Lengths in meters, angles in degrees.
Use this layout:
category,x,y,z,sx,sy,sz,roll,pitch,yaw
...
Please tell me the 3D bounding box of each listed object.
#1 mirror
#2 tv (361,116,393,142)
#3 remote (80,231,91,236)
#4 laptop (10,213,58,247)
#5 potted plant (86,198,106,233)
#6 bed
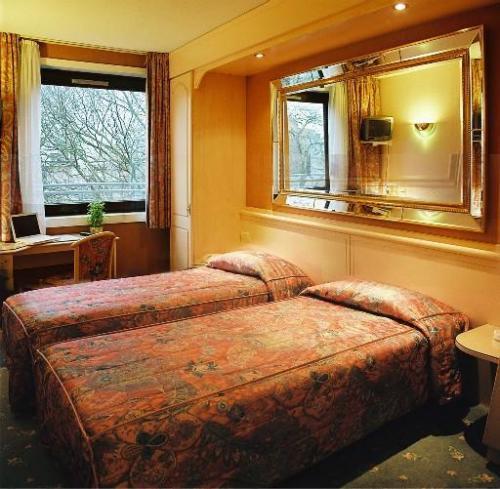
category,x,y,z,sx,sy,sz,roll,pitch,yaw
mirror,0.824,-0.774,2.797,0.101,1.184,1.804,-5,11,-32
tv,0.905,-0.812,2.710,0.126,0.171,0.216,-9,14,-42
remote,-1.774,-0.114,4.127,0.090,0.023,0.092,2,7,4
laptop,-2.124,-0.151,3.776,0.353,0.227,0.340,10,11,30
potted plant,-1.709,-0.297,4.258,0.170,0.322,0.256,-3,10,-22
bed,-0.231,0.600,2.449,2.142,0.674,2.200,-6,11,-36
